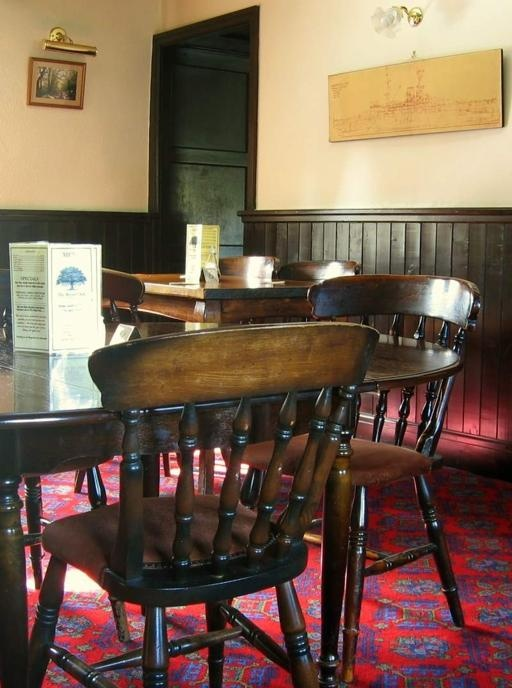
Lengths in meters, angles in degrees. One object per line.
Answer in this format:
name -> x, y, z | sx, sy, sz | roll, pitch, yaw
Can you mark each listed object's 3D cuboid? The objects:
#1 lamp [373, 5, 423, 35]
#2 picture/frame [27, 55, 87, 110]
lamp -> 0.780, -1.792, 3.158 | 0.107, 0.172, 0.212 | -23, 29, -34
picture/frame -> -1.526, -1.977, 4.300 | 0.491, 0.387, 0.038 | -1, 9, -37
